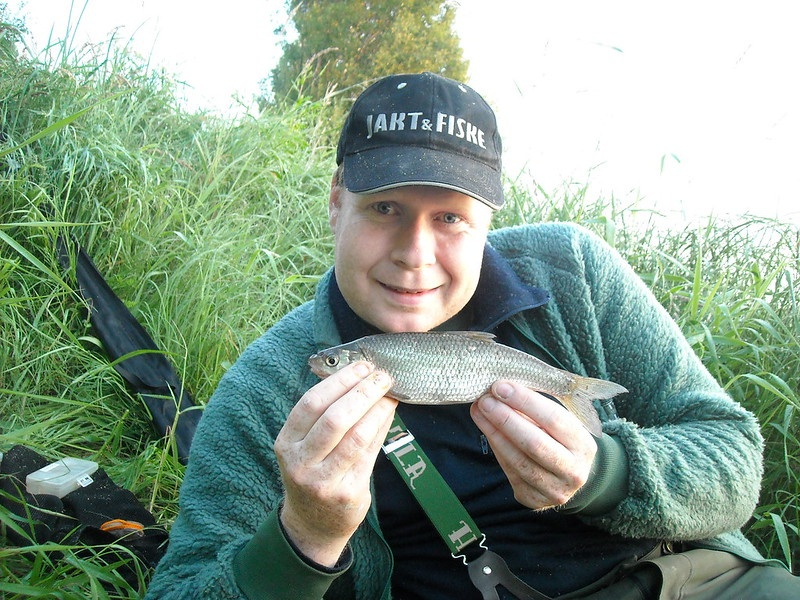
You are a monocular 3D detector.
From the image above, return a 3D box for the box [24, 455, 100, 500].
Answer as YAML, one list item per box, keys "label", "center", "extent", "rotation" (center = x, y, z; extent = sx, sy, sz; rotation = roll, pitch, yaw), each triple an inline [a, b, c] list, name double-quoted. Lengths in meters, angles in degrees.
- label: "box"
  center: [-2.053, 1.080, 4.309]
  extent: [0.241, 0.205, 0.372]
  rotation: [7, -8, 20]
